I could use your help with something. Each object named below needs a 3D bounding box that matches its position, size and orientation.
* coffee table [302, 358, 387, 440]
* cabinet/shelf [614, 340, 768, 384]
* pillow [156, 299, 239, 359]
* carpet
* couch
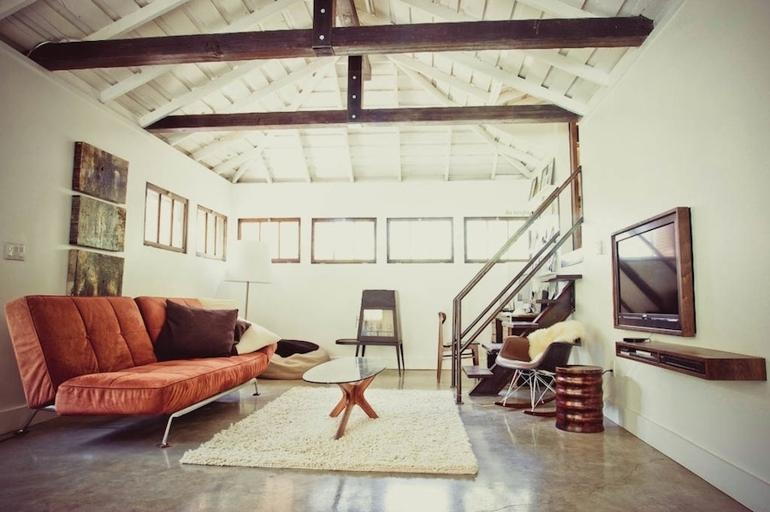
[{"bbox_3d":[-0.415,1.539,5.472,0.554,0.442,0.963,-1,-4,20],"label":"coffee table"},{"bbox_3d":[2.409,0.821,4.257,0.387,0.237,1.024,-2,6,-21],"label":"cabinet/shelf"},{"bbox_3d":[-2.126,0.847,5.927,0.697,0.493,0.249,-1,-10,-31],"label":"pillow"},{"bbox_3d":[-0.370,1.684,5.452,2.453,0.165,2.192,1,5,4],"label":"carpet"},{"bbox_3d":[-2.432,1.031,5.265,1.456,1.412,1.690,3,6,25],"label":"couch"}]
